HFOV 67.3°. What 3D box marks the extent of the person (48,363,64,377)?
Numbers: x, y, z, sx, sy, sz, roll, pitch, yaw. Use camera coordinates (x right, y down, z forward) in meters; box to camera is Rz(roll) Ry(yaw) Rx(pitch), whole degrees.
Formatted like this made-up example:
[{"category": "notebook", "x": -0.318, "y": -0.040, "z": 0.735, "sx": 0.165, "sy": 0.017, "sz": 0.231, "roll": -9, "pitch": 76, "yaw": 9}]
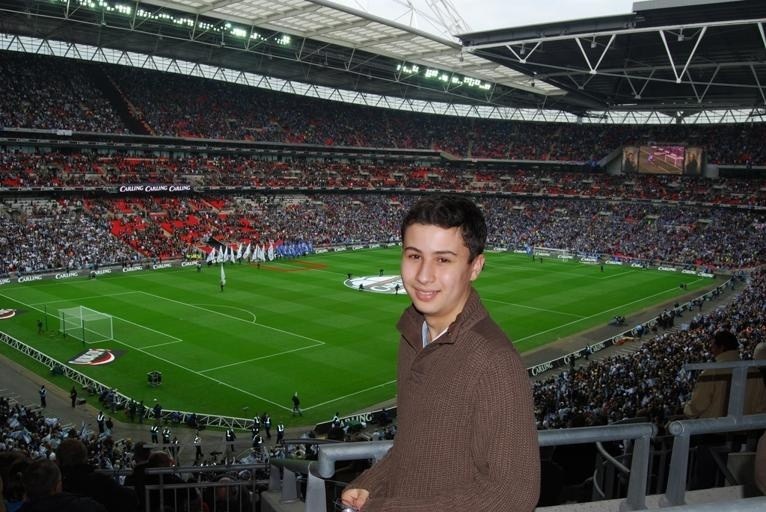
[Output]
[{"category": "person", "x": -16.926, "y": 5.925, "z": 29.983, "sx": 0.540, "sy": 0.689, "sz": 0.772, "roll": 4, "pitch": -5, "yaw": -3}]
